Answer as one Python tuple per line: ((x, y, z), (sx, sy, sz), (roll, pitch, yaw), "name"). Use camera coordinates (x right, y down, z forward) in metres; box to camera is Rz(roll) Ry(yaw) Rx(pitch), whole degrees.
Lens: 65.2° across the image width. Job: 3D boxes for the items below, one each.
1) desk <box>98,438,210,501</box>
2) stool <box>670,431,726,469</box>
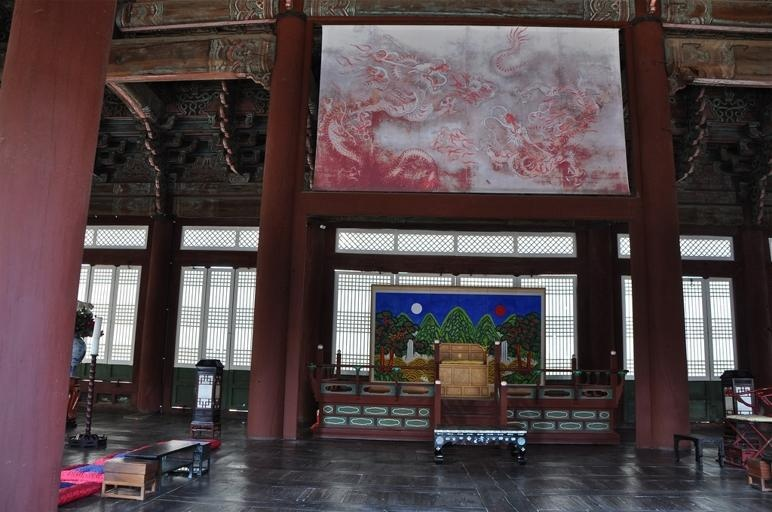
((-2.517, 2.336, 6.641), (0.486, 0.496, 1.060), (-8, -12, 32), "desk")
((4.093, 2.578, 7.992), (0.281, 0.252, 0.535), (-2, -5, 4), "stool")
